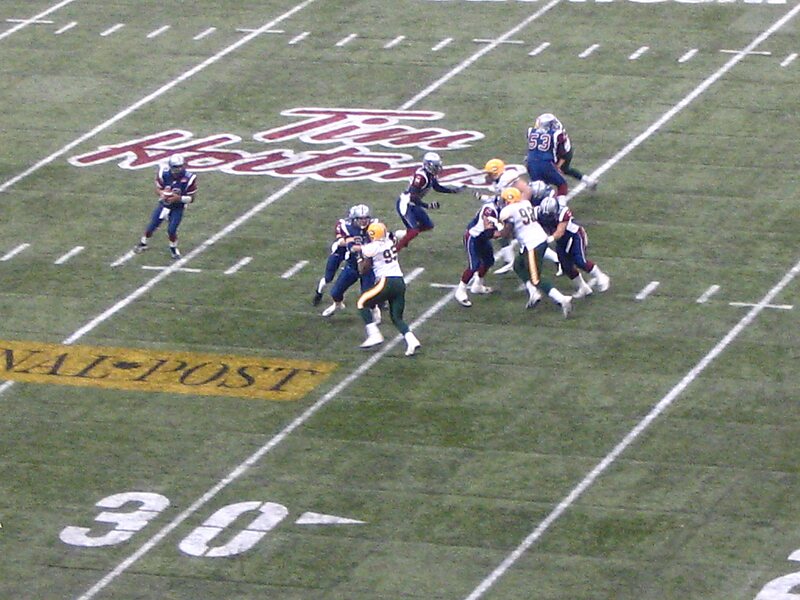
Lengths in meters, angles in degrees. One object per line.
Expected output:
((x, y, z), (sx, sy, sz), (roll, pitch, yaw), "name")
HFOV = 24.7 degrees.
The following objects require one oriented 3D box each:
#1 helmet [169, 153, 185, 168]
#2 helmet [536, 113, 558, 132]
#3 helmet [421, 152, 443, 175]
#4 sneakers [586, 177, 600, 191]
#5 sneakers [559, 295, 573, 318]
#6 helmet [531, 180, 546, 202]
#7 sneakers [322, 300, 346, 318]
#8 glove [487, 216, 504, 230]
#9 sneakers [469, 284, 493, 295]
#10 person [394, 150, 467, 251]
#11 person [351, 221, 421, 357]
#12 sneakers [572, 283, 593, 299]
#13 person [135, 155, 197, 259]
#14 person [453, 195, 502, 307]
((-3.181, -2.004, 26.096), (0.290, 0.220, 0.294), (0, -11, -2), "helmet")
((2.100, -2.645, 26.932), (0.380, 0.245, 0.375), (0, 3, -4), "helmet")
((0.418, -1.910, 25.684), (0.233, 0.311, 0.294), (-4, 24, 4), "helmet")
((2.874, -1.783, 27.760), (0.184, 0.085, 0.239), (35, -15, 13), "sneakers")
((2.167, 0.070, 24.362), (0.140, 0.232, 0.192), (13, -9, -32), "sneakers")
((1.870, -1.512, 25.204), (0.285, 0.232, 0.275), (-3, 8, 7), "helmet")
((-0.998, 0.118, 24.697), (0.434, 0.119, 0.165), (-27, 20, -3), "sneakers")
((1.238, -1.048, 24.552), (0.133, 0.216, 0.112), (-53, 12, -22), "glove")
((1.072, -0.160, 25.146), (0.363, 0.077, 0.190), (0, -13, -7), "sneakers")
((0.415, -1.418, 26.895), (1.605, 1.786, 0.718), (5, 52, 2), "person")
((-0.262, -0.158, 23.761), (0.771, 1.707, 1.015), (-8, 26, -1), "person")
((2.442, -0.128, 24.997), (0.269, 0.089, 0.319), (5, -18, -14), "sneakers")
((-3.359, -1.381, 26.276), (0.800, 1.489, 0.793), (5, 29, 22), "person")
((1.017, -0.707, 24.843), (0.744, 1.498, 0.785), (-5, 27, 4), "person")
